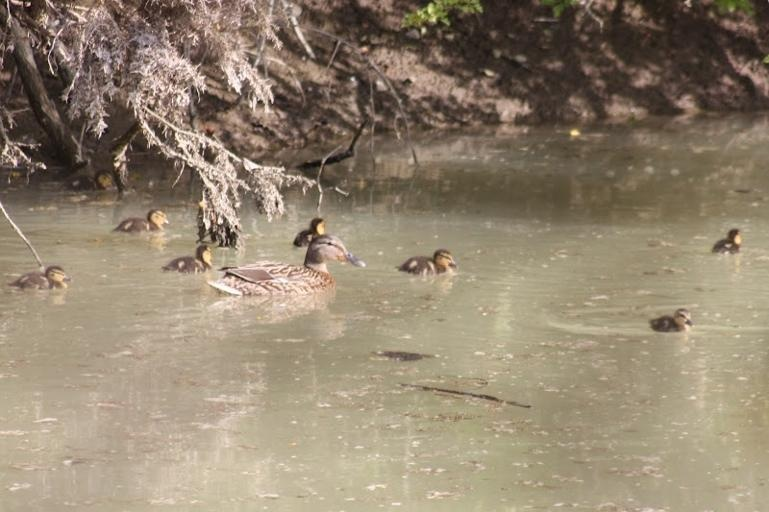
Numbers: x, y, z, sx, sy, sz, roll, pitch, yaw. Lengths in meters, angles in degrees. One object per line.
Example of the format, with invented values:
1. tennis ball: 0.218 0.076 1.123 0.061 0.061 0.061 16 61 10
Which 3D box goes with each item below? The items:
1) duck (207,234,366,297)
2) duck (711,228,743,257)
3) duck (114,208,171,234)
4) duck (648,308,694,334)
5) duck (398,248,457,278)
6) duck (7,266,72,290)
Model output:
1. duck: -1.528 0.200 15.649 2.230 0.716 0.687 -10 21 -30
2. duck: 5.843 -0.266 17.313 0.625 0.444 0.384 -5 15 12
3. duck: -4.518 -0.623 19.022 1.037 0.345 0.399 1 19 -4
4. duck: 3.917 0.893 13.903 0.580 0.292 0.306 0 11 14
5. duck: 0.753 0.152 16.577 0.998 0.309 0.387 -2 3 10
6. duck: -5.326 0.359 15.644 0.920 0.291 0.303 -2 21 -5
